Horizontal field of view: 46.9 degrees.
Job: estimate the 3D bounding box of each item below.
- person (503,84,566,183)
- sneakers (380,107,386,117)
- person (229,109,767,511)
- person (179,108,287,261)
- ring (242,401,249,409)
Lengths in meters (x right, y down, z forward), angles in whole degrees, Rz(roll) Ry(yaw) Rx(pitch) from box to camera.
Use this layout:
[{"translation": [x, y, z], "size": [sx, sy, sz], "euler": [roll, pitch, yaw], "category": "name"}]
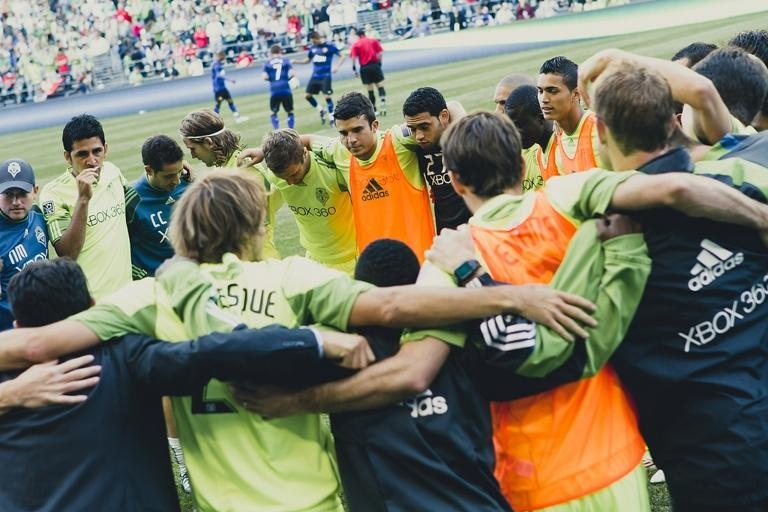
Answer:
[{"translation": [1.503, -1.097, 8.282], "size": [0.593, 0.949, 1.215], "euler": [-6, 0, 10], "category": "person"}, {"translation": [-0.023, -2.834, 17.332], "size": [0.136, 0.164, 0.143], "euler": [2, 49, 1], "category": "sneakers"}, {"translation": [0.809, 0.396, 5.556], "size": [2.701, 1.304, 0.654], "euler": [-17, 8, -1], "category": "person"}, {"translation": [-1.489, -0.515, 8.898], "size": [0.653, 1.939, 0.621], "euler": [-10, 11, 20], "category": "person"}, {"translation": [-0.835, 0.910, 5.355], "size": [0.031, 0.033, 0.010], "euler": [2, 4, 18], "category": "ring"}]
